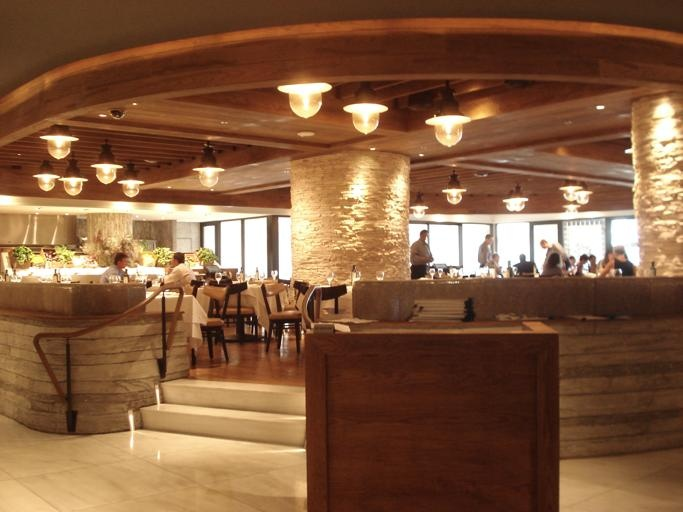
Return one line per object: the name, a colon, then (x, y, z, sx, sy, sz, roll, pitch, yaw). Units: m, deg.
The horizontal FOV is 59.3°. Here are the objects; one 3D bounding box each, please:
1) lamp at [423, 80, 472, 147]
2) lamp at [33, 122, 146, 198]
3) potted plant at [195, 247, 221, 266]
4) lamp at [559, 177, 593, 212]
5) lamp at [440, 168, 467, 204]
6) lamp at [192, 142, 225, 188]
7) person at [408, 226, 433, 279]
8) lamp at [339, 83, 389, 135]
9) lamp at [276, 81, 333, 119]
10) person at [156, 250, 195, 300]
lamp: (1.089, -1.470, 6.161, 0.321, 0.637, 0.314, -5, 8, -14)
lamp: (-3.335, -1.183, 7.801, 1.503, 0.684, 1.592, 0, 0, -25)
potted plant: (-3.226, 0.017, 14.786, 0.775, 0.478, 0.643, 2, 4, -23)
lamp: (5.385, -1.413, 13.722, 0.876, 0.513, 0.880, 7, -7, -27)
lamp: (1.920, -1.161, 10.148, 0.480, 0.512, 0.444, -4, 8, -11)
lamp: (-1.858, -1.297, 8.464, 0.457, 0.623, 0.409, -3, 8, -24)
person: (1.646, -0.055, 12.458, 0.454, 0.994, 1.702, -2, 7, 7)
lamp: (0.240, -1.452, 5.886, 0.392, 0.467, 0.228, -3, 8, 0)
lamp: (-0.322, -1.354, 5.388, 0.516, 0.266, 0.468, -1, 3, 0)
person: (-2.444, 0.357, 8.923, 0.495, 0.759, 0.364, 7, 15, -2)
